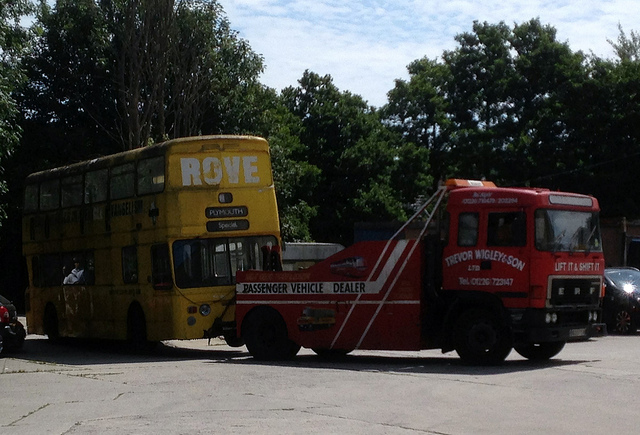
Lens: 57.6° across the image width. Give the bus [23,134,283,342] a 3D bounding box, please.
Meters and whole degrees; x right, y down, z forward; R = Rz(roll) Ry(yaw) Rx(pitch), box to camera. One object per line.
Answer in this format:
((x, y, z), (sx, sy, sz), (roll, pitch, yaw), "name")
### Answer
((-6.365, 0.963, 19.551), (9.921, 5.965, 3.973), (-6, -2, 40), "bus")
